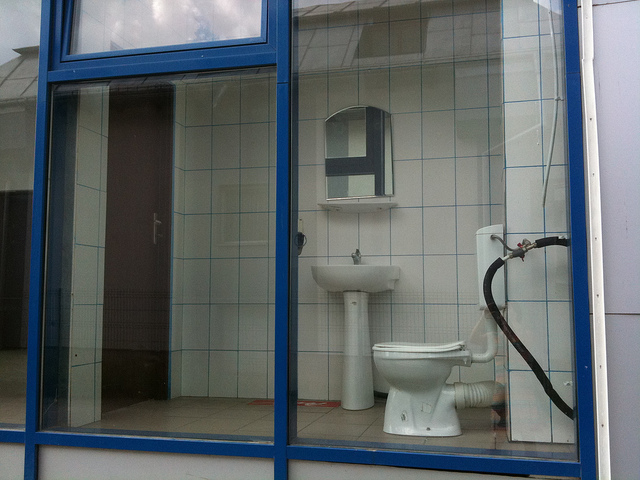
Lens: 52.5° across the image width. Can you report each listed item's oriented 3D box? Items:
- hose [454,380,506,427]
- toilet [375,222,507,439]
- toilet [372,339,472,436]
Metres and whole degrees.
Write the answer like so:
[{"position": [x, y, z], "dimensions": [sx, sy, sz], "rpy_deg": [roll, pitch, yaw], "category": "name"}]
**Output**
[{"position": [0.724, 0.712, 2.977], "dimensions": [0.172, 0.196, 0.097], "rpy_deg": [-13, -6, 16], "category": "hose"}, {"position": [0.578, 0.591, 3.716], "dimensions": [0.950, 1.598, 0.502], "rpy_deg": [0, -5, 12], "category": "toilet"}, {"position": [0.521, 0.676, 3.111], "dimensions": [0.443, 0.452, 0.296], "rpy_deg": [-3, 11, 18], "category": "toilet"}]
